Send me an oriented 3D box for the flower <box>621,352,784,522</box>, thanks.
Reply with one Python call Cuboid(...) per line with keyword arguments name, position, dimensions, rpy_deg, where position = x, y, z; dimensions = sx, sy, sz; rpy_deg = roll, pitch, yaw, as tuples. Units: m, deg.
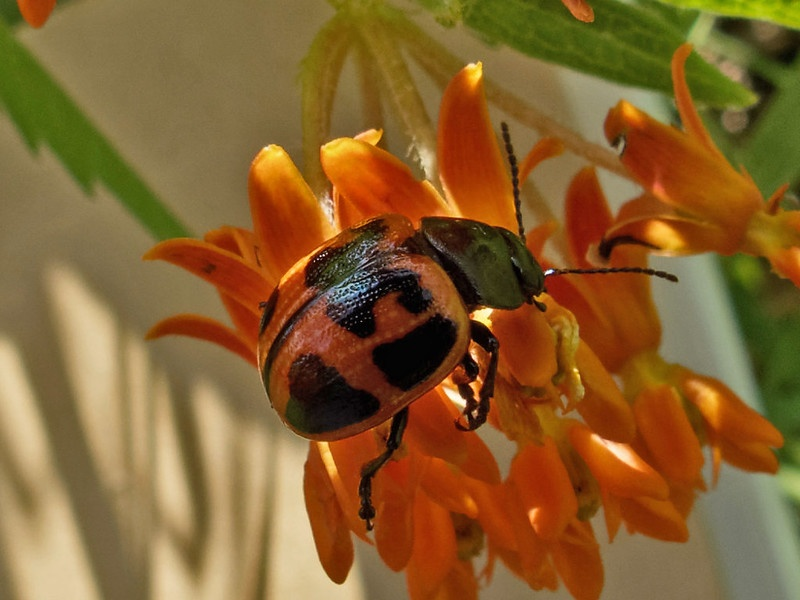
Cuboid(name="flower", position=(0.220, 0.120, 0.704), dimensions=(0.092, 0.046, 0.119), rpy_deg=(-35, 62, -21))
